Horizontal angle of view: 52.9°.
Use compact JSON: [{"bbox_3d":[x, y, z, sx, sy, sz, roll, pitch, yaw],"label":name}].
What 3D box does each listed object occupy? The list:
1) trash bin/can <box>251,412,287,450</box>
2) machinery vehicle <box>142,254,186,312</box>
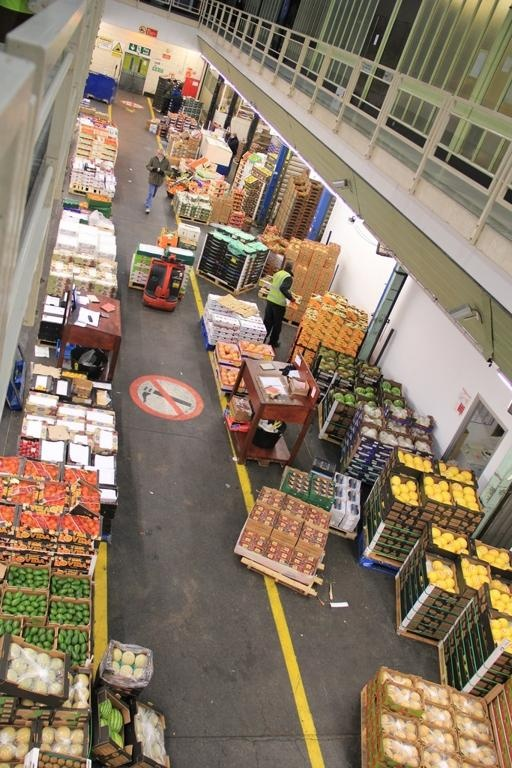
[{"bbox_3d":[0.233,0.917,9.374,0.499,0.414,0.587,11,35,-12],"label":"trash bin/can"},{"bbox_3d":[-2.249,-2.668,12.656,0.805,1.333,1.360,12,48,-18],"label":"machinery vehicle"}]
